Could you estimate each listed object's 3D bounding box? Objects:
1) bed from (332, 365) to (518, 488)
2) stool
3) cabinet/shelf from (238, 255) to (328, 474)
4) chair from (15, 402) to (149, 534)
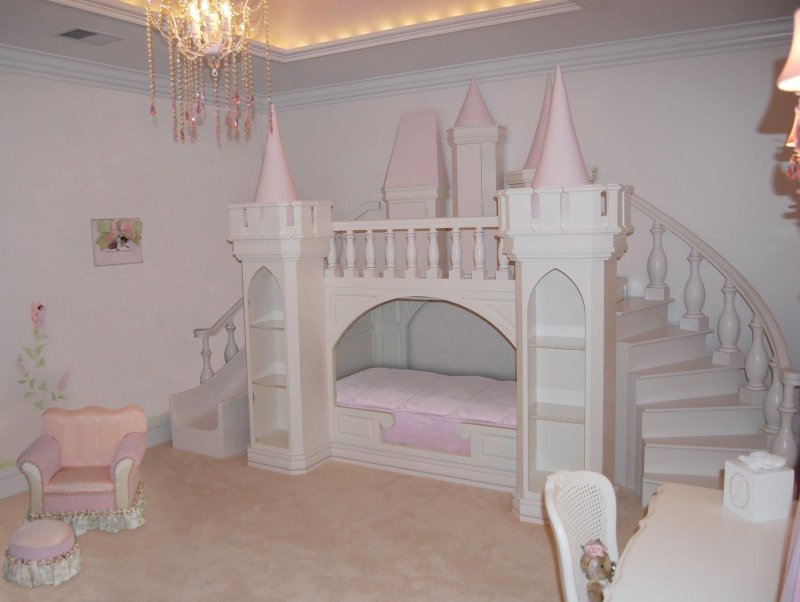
[{"bbox_3d":[0.331,1.216,6.115,1.850,0.681,0.852,5,15,22],"label":"bed"},{"bbox_3d":[-2.623,1.851,4.407,0.412,0.283,0.433,2,5,-4],"label":"stool"},{"bbox_3d":[-1.149,0.599,6.012,0.803,2.060,0.712,-1,14,-1],"label":"cabinet/shelf"},{"bbox_3d":[-2.621,1.446,5.372,1.059,1.229,0.947,1,-1,-8],"label":"chair"}]
